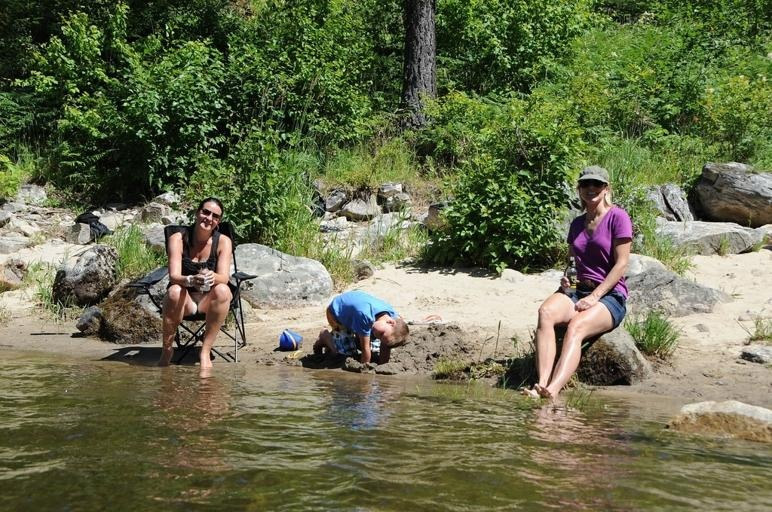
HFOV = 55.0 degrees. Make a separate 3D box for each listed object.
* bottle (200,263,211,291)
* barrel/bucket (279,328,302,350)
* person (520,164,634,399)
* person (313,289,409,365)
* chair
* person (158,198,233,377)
[{"bbox_3d":[-2.470,0.320,10.165,0.133,0.376,0.368,1,6,-14],"label":"bottle"},{"bbox_3d":[-1.398,1.198,10.842,0.281,0.300,0.283,0,-3,0],"label":"barrel/bucket"},{"bbox_3d":[2.418,0.262,9.172,1.244,2.756,0.744,-3,7,-43],"label":"person"},{"bbox_3d":[-0.355,1.048,10.632,0.728,1.057,1.748,-3,11,-37],"label":"person"},{"bbox_3d":[-2.492,0.455,11.141,1.859,2.647,1.741,0,0,-9],"label":"chair"},{"bbox_3d":[-2.598,0.339,10.204,0.938,2.295,0.612,1,6,-13],"label":"person"}]
